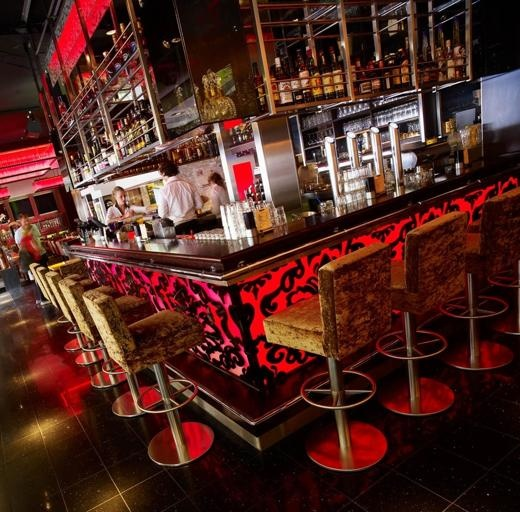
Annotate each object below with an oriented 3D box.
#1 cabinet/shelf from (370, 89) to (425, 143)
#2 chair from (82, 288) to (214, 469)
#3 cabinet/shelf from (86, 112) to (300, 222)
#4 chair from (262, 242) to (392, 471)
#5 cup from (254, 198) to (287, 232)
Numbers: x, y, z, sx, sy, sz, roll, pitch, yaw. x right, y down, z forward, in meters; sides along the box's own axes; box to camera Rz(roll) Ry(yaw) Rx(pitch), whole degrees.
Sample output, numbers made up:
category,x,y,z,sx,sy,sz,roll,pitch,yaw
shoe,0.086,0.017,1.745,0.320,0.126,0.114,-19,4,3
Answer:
category,x,y,z,sx,sy,sz,roll,pitch,yaw
cabinet/shelf,2.087,-2.076,6.112,0.834,0.672,0.279,-9,-21,34
chair,-0.698,0.706,2.652,0.524,1.206,0.732,-27,20,-36
cabinet/shelf,-0.788,-1.072,4.781,2.398,1.739,0.732,-4,2,43
chair,0.426,0.515,2.239,0.688,1.204,0.662,-16,16,-5
cup,0.077,-0.297,2.942,0.254,0.219,0.248,-10,16,3
